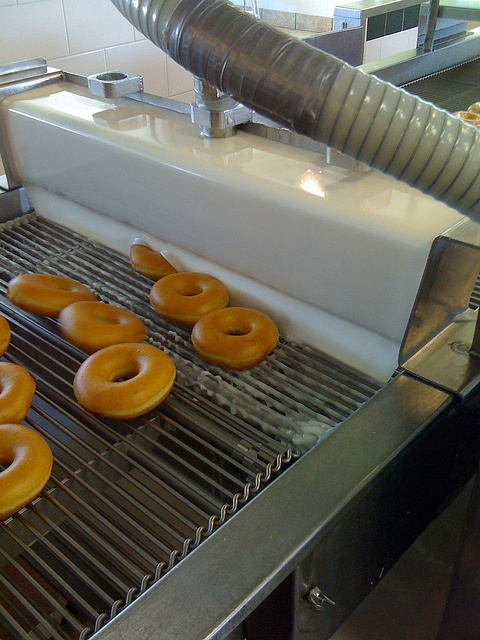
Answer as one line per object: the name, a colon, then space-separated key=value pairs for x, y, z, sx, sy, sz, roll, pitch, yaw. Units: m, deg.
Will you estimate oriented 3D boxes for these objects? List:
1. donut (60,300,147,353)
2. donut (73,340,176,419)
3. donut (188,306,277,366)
donut: x=-0.232 y=0.015 z=0.827 sx=0.145 sy=0.051 sz=0.141 roll=-1 pitch=28 yaw=-38
donut: x=-0.166 y=0.083 z=0.709 sx=0.145 sy=0.052 sz=0.141 roll=-14 pitch=39 yaw=-17
donut: x=-0.007 y=0.025 z=0.789 sx=0.138 sy=0.049 sz=0.133 roll=-2 pitch=34 yaw=-7
